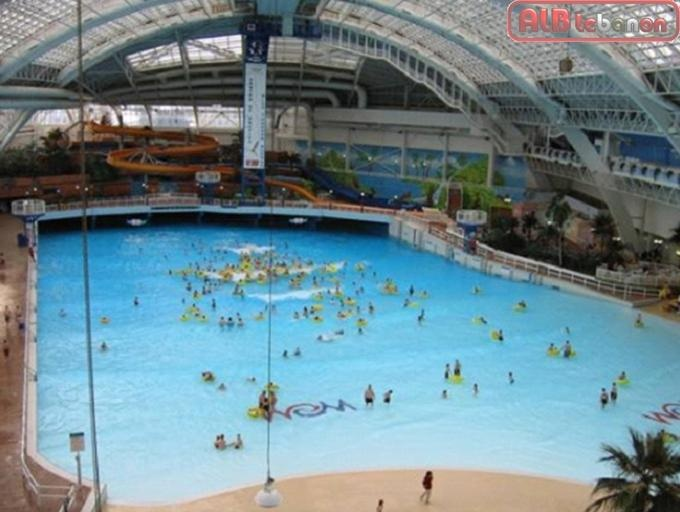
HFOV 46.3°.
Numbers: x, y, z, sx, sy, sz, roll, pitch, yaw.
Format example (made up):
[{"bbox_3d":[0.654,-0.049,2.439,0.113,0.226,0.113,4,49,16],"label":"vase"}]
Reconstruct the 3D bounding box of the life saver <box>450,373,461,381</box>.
[{"bbox_3d":[5.765,6.049,39.530,0.421,0.252,0.414,-5,5,-42],"label":"life saver"}]

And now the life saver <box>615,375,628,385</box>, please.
[{"bbox_3d":[13.967,6.122,39.325,0.759,0.321,0.739,2,5,10],"label":"life saver"}]

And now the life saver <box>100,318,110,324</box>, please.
[{"bbox_3d":[-13.517,3.728,45.817,0.460,0.307,0.916,-1,5,-19],"label":"life saver"}]
